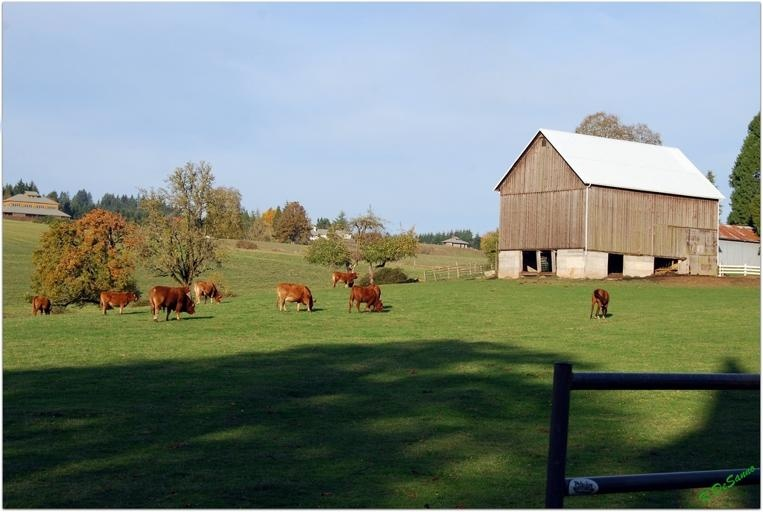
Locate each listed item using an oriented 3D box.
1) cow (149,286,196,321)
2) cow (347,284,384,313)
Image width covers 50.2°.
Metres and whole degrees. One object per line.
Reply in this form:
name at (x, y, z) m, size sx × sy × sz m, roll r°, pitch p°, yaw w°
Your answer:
cow at (-8.799, 1.927, 33.945) m, size 0.876 × 1.508 × 2.043 m, roll 3°, pitch 7°, yaw 22°
cow at (-0.833, 1.985, 39.312) m, size 1.490 × 1.437 × 2.749 m, roll 0°, pitch 7°, yaw -3°
